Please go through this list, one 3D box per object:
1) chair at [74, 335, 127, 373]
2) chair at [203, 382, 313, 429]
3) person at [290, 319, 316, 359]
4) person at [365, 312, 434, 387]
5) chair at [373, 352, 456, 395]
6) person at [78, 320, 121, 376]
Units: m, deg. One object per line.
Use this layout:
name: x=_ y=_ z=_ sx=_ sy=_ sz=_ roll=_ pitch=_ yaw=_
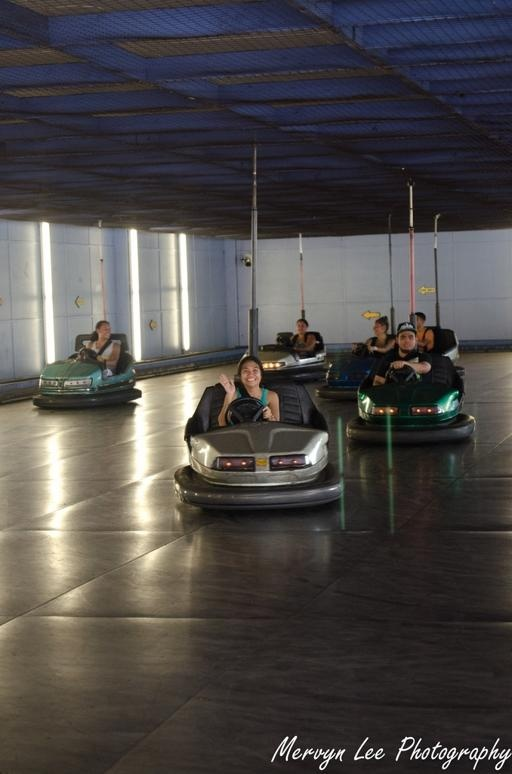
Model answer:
chair: x=-2.069 y=-0.472 z=9.001 sx=0.498 sy=0.488 sz=0.677 roll=-3 pitch=-16 yaw=17
chair: x=0.110 y=0.096 z=4.037 sx=0.439 sy=0.240 sz=0.380 roll=0 pitch=-34 yaw=-2
person: x=0.739 y=-0.793 z=11.027 sx=0.395 sy=0.618 sz=0.779 roll=-2 pitch=2 yaw=4
person: x=1.274 y=-0.358 z=6.020 sx=0.570 sy=0.709 sz=0.514 roll=0 pitch=-37 yaw=13
chair: x=1.426 y=-0.143 z=5.890 sx=0.480 sy=0.194 sz=0.434 roll=-2 pitch=-10 yaw=17
person: x=-2.059 y=-0.503 z=8.914 sx=0.540 sy=0.697 sz=0.581 roll=-2 pitch=2 yaw=6
